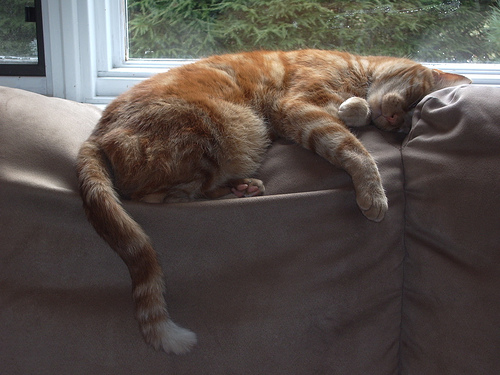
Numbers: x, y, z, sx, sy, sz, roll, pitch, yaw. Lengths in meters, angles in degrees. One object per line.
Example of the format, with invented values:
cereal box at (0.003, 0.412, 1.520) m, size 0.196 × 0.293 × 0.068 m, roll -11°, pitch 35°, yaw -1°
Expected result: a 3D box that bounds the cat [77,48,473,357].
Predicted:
cat at (0.109, -0.154, 1.413) m, size 1.387 × 0.298 × 0.710 m, roll -29°, pitch 48°, yaw -26°
